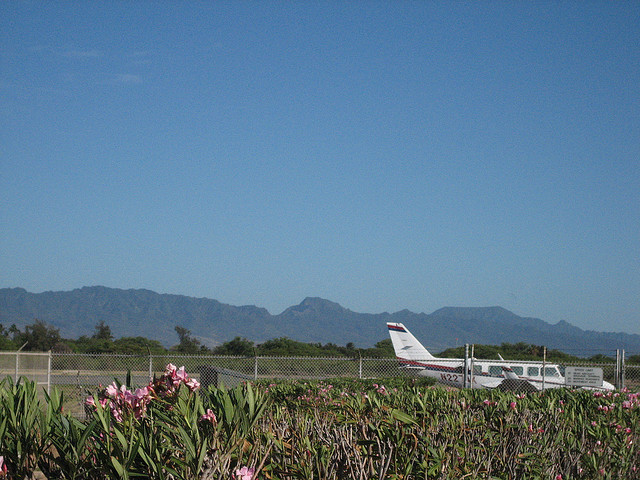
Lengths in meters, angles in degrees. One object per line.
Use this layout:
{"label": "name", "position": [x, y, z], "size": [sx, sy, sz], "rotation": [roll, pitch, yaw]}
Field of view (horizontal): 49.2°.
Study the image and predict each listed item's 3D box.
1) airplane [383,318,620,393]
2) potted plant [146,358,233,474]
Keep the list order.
{"label": "airplane", "position": [4.682, 3.288, 21.373], "size": [3.901, 2.443, 12.420], "rotation": [1, -11, -3]}
{"label": "potted plant", "position": [-1.153, 1.532, 6.071], "size": [0.571, 0.906, 1.134], "rotation": [7, -12, -33]}
